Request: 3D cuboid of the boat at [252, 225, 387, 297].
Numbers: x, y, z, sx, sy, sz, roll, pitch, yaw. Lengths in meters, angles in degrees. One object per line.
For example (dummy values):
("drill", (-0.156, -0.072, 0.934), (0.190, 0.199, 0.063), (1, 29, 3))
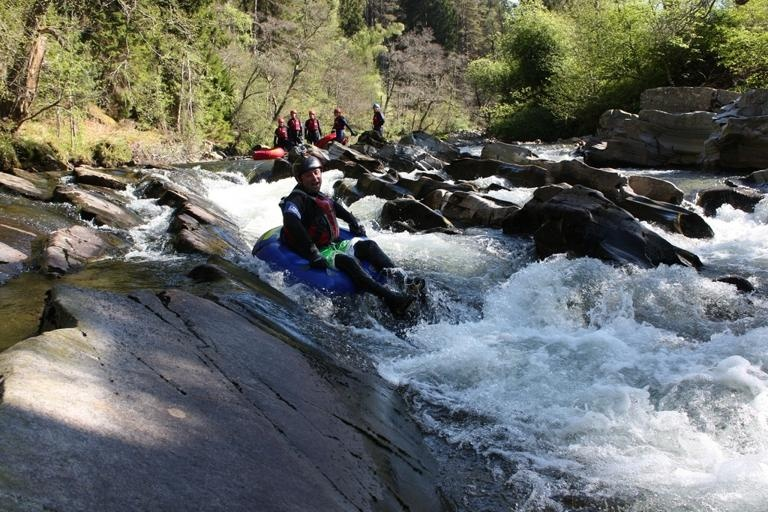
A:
("boat", (-1.025, 0.107, 8.313), (1.254, 0.339, 1.065), (28, 24, 24))
